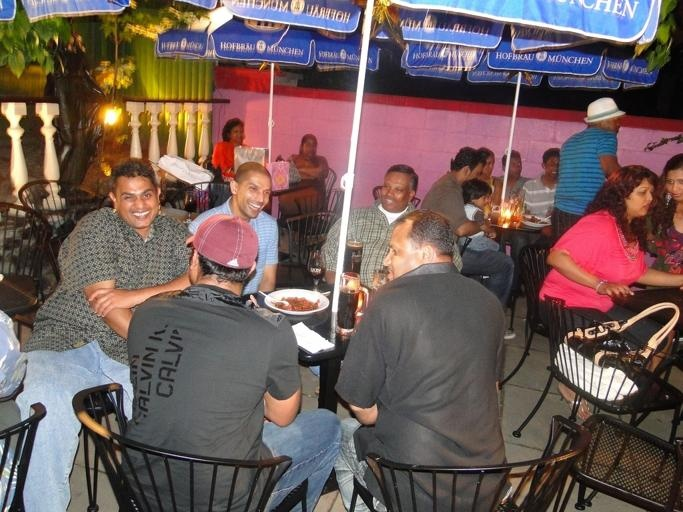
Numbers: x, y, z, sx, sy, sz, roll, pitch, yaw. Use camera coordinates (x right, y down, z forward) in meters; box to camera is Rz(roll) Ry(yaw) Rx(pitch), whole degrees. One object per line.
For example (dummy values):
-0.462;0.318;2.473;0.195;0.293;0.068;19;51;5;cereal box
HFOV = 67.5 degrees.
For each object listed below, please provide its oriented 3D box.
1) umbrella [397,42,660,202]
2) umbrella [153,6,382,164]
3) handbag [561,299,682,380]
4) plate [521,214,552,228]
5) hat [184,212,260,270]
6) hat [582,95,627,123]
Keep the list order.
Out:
2.267;-2.134;6.073;2.385;1.074;2.381;24;26;32;umbrella
-0.886;-2.472;6.012;2.061;1.527;2.035;-1;31;-13;umbrella
1.944;0.573;3.288;0.759;0.255;0.546;-12;25;-14;handbag
2.061;-0.361;5.394;0.246;0.074;0.261;16;18;36;plate
-0.509;-0.075;2.218;0.198;0.166;0.274;6;21;-31;hat
2.690;-1.454;5.231;0.318;0.128;0.290;2;32;45;hat
